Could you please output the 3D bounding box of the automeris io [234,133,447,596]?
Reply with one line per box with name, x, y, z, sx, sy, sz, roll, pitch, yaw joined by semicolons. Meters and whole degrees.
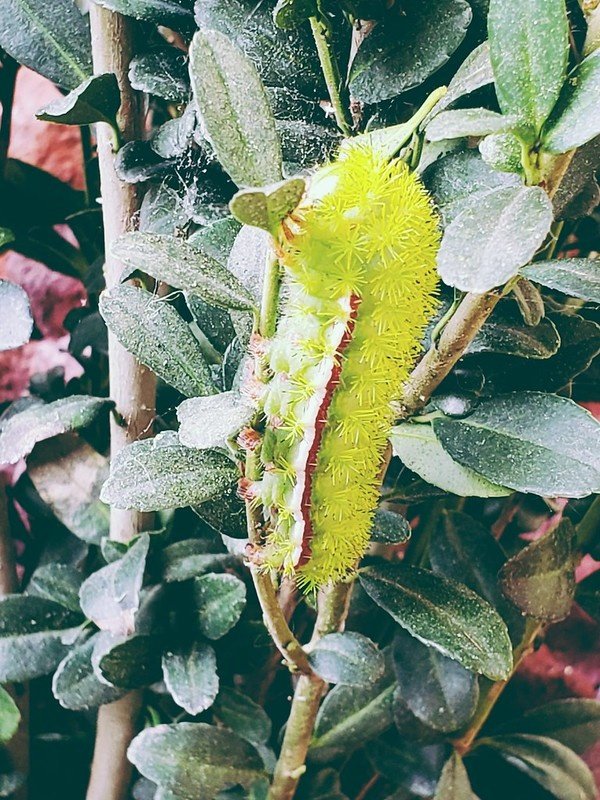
automeris io;-0.002;-0.019;0.561;0.098;0.097;0.262;14;97;21
